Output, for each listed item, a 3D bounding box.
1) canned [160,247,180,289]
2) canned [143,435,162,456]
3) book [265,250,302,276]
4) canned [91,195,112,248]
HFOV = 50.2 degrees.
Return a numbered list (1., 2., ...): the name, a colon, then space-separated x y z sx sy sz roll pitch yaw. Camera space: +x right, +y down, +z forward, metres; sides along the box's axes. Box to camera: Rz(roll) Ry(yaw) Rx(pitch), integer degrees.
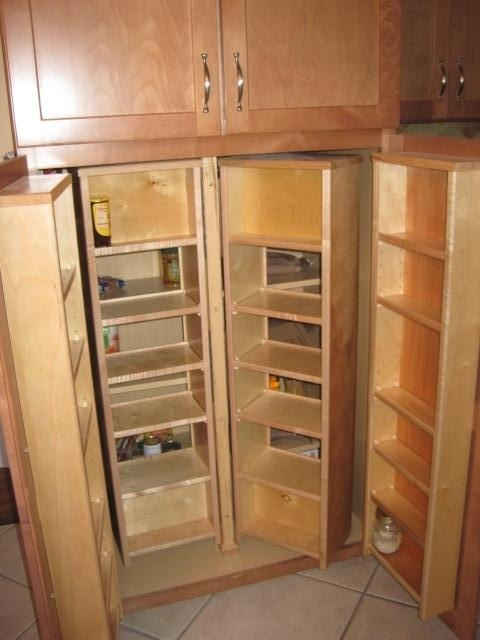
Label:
1. canned: -0.283 -0.213 2.106 0.099 0.225 0.118 -2 9 -7
2. canned: -0.388 0.558 2.296 0.065 0.088 0.075 3 1 29
3. book: 0.170 -0.217 2.062 0.120 0.093 0.035 6 23 11
4. canned: -0.472 -0.358 1.740 0.072 0.158 0.078 -16 38 -29
